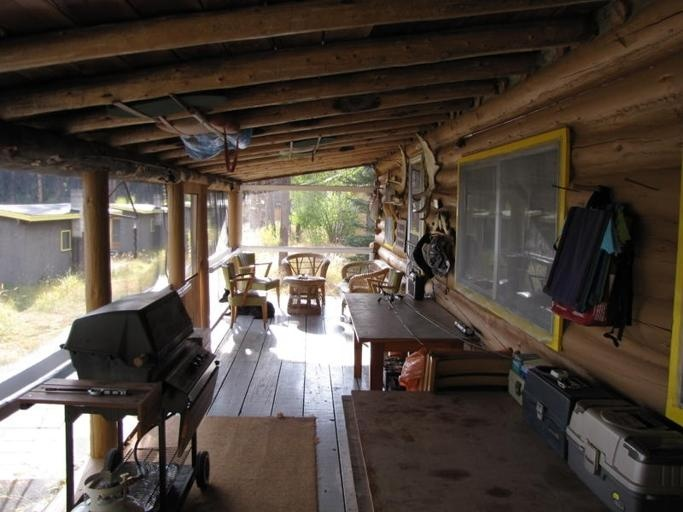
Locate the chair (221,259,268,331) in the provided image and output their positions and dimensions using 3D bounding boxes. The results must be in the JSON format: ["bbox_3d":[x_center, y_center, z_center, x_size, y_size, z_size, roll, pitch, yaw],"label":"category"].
[{"bbox_3d":[-1.487,0.574,8.067,0.857,1.269,0.971,0,3,-2],"label":"chair"}]

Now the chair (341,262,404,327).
[{"bbox_3d":[0.508,0.536,6.888,0.856,1.006,0.842,1,1,-14],"label":"chair"}]

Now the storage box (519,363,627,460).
[{"bbox_3d":[1.297,0.802,2.834,0.369,0.338,0.493,-1,8,-15],"label":"storage box"}]

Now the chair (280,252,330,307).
[{"bbox_3d":[-0.653,0.397,8.855,0.849,0.915,1.081,0,1,1],"label":"chair"}]

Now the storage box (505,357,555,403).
[{"bbox_3d":[1.175,0.745,3.215,0.242,0.247,0.326,-1,8,-3],"label":"storage box"}]
